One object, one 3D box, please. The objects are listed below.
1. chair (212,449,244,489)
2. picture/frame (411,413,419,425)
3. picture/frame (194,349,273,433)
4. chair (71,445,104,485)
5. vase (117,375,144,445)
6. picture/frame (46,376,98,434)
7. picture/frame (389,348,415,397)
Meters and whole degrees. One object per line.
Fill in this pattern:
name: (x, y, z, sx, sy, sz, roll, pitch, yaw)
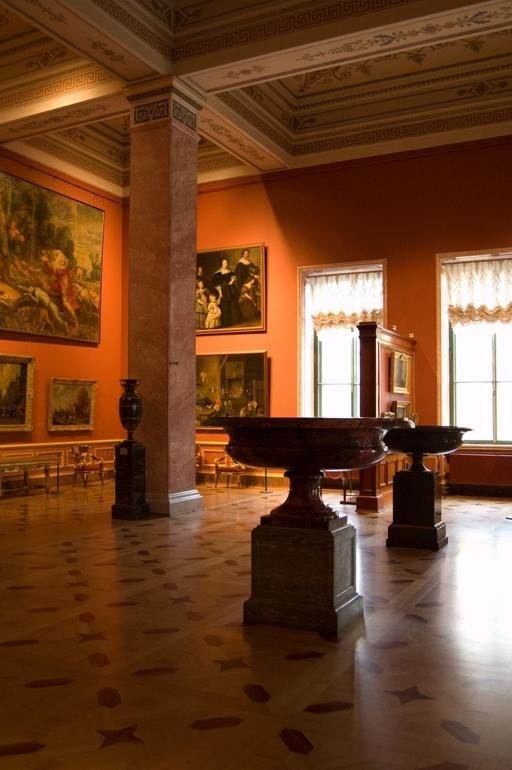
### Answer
chair: (-0.592, 1.865, 12.580, 0.640, 0.730, 1.071, 0, 0, -5)
picture/frame: (3.155, 0.666, 11.278, 0.134, 0.207, 0.677, 0, 0, 18)
picture/frame: (-0.577, 0.106, 13.003, 1.753, 1.701, 0.540, 0, -1, 28)
chair: (-3.725, 1.787, 12.624, 0.711, 0.897, 2.087, 0, 0, -15)
vase: (-1.820, 0.344, 8.272, 0.324, 0.906, 0.671, 0, -1, -12)
picture/frame: (-4.178, 0.431, 12.710, 0.186, 1.358, 1.342, 0, 0, 29)
picture/frame: (2.734, -0.253, 10.677, 0.099, 0.808, 0.937, -1, -1, 24)
